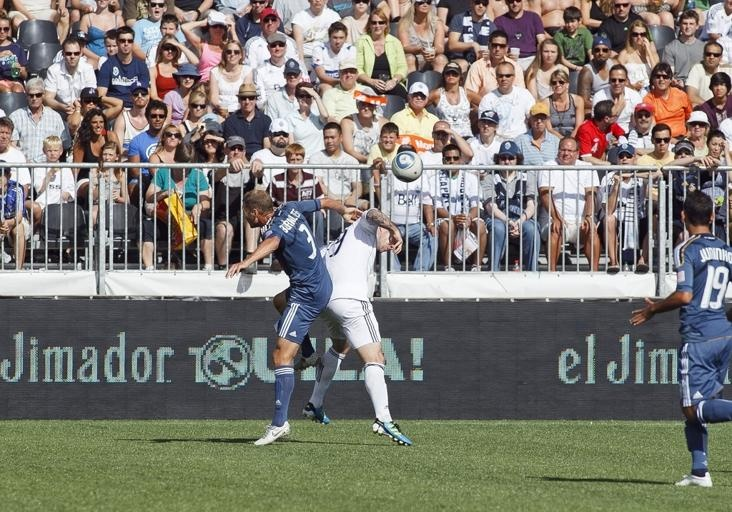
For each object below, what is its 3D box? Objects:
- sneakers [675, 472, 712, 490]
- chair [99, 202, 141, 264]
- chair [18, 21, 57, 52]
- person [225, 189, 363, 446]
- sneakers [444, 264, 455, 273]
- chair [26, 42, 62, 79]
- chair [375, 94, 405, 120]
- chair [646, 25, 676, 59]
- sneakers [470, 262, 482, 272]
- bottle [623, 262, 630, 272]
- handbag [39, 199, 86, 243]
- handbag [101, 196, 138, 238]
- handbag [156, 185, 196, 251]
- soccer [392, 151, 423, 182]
[{"bbox_3d":[4.163,2.820,25.183,0.476,0.198,0.178,2,-4,11],"label":"sneakers"},{"bbox_3d":[-3.556,-0.319,29.568,0.708,0.838,0.781,2,-3,37],"label":"chair"},{"bbox_3d":[-6.012,-3.969,36.480,0.638,0.423,0.574,-2,7,-20],"label":"chair"},{"bbox_3d":[-1.086,0.849,27.164,1.323,3.418,0.659,0,-3,-5],"label":"person"},{"bbox_3d":[1.253,0.206,29.500,0.105,0.099,0.205,1,-4,-7],"label":"sneakers"},{"bbox_3d":[-5.773,-3.421,35.591,0.628,0.888,0.641,2,3,-9],"label":"chair"},{"bbox_3d":[0.447,-2.481,33.593,0.411,0.441,0.450,-2,-30,-1],"label":"chair"},{"bbox_3d":[5.304,-3.726,35.682,0.607,0.642,0.561,-6,12,-35],"label":"chair"},{"bbox_3d":[1.646,0.190,29.471,0.113,0.092,0.213,-2,-3,6],"label":"sneakers"},{"bbox_3d":[3.870,0.186,29.497,0.086,0.033,0.121,4,26,10],"label":"bottle"},{"bbox_3d":[-4.435,-0.468,29.398,0.652,0.568,0.390,1,-3,-10],"label":"handbag"},{"bbox_3d":[-3.624,-0.535,29.487,0.470,0.591,0.514,1,12,-3],"label":"handbag"},{"bbox_3d":[-2.767,-0.492,29.343,0.571,0.836,0.321,0,-3,-6],"label":"handbag"},{"bbox_3d":[0.607,-1.255,28.716,0.436,0.440,0.365,0,-3,0],"label":"soccer"}]
